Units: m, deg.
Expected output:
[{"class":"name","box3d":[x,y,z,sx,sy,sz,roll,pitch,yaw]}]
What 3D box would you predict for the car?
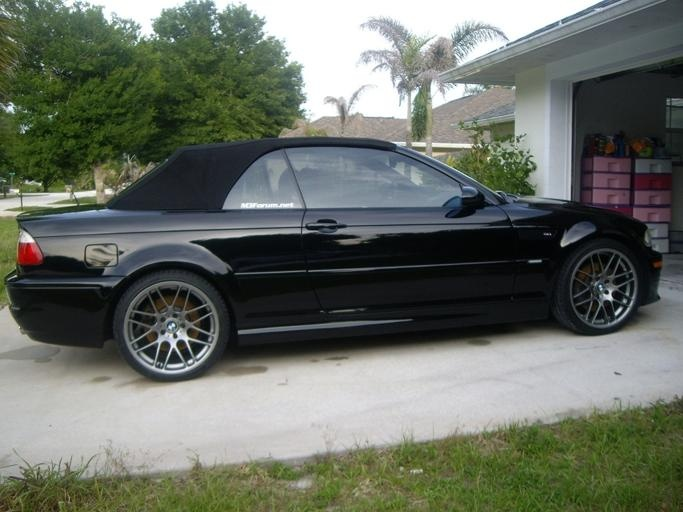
[{"class":"car","box3d":[0.158,-0.004,4.735,5.545,1.528,2.202,-2,2,-9]}]
